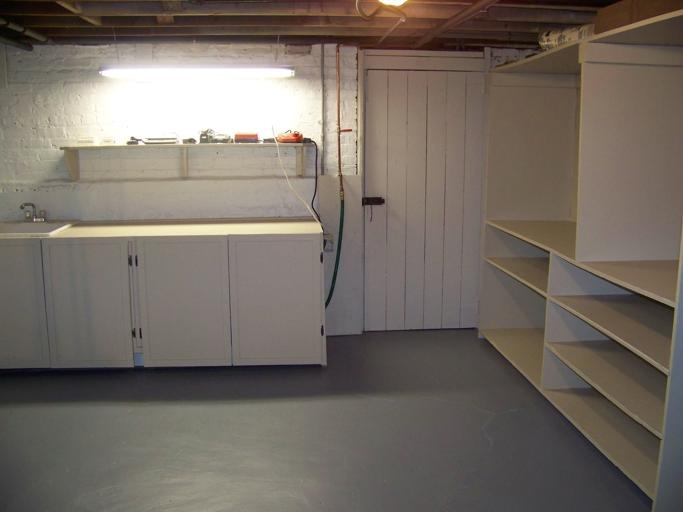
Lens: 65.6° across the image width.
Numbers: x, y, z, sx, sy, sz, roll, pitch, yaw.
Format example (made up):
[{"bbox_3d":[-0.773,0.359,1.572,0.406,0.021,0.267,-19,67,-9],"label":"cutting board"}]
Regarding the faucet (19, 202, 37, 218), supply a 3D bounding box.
[{"bbox_3d":[-2.729,-0.390,4.621,0.142,0.147,0.130,-5,11,-15],"label":"faucet"}]
